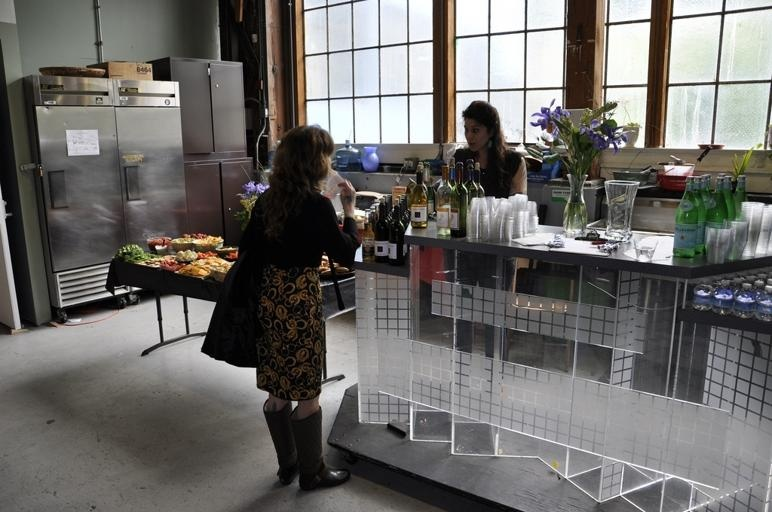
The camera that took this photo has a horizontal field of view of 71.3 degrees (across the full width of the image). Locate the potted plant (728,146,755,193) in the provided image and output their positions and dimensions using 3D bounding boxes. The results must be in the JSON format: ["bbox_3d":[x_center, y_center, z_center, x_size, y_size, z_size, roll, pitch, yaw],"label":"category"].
[{"bbox_3d":[2.469,-0.618,3.717,0.156,0.231,0.153,9,-5,12],"label":"potted plant"}]

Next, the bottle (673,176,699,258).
[{"bbox_3d":[1.746,-0.223,3.107,0.125,0.441,0.253,8,16,28],"label":"bottle"}]

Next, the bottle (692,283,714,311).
[{"bbox_3d":[1.746,0.231,2.966,0.097,0.131,0.069,4,15,14],"label":"bottle"}]

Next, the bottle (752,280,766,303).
[{"bbox_3d":[2.006,0.192,2.898,0.081,0.113,0.044,3,-16,19],"label":"bottle"}]

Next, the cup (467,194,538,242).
[{"bbox_3d":[0.758,-0.264,3.493,0.386,0.209,0.303,5,13,30],"label":"cup"}]

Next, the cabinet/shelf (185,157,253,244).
[{"bbox_3d":[-2.267,-0.776,7.487,0.973,0.990,0.343,-5,-3,-9],"label":"cabinet/shelf"}]

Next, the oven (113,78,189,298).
[{"bbox_3d":[-3.076,-1.073,6.709,0.884,2.222,0.919,21,28,21],"label":"oven"}]

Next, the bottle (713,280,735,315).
[{"bbox_3d":[1.845,0.223,2.944,0.107,0.172,0.106,-7,18,2],"label":"bottle"}]

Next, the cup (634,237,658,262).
[{"bbox_3d":[1.499,-0.033,3.104,0.109,0.126,0.109,-4,13,1],"label":"cup"}]

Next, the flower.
[{"bbox_3d":[1.246,-0.755,3.497,0.557,0.453,0.257,6,15,22],"label":"flower"}]

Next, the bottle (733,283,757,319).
[{"bbox_3d":[1.941,0.239,2.914,0.120,0.177,0.119,-5,17,2],"label":"bottle"}]
